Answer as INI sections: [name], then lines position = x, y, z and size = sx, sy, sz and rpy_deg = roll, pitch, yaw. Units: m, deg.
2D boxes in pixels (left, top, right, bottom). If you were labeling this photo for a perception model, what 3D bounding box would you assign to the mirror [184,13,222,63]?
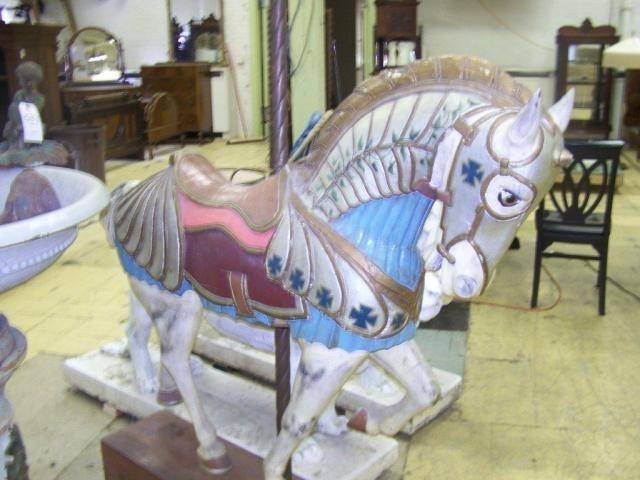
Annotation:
[mirror]
position = -2.107, -3.611, 11.170
size = 0.646, 0.984, 0.087
rpy_deg = -10, 20, -37
